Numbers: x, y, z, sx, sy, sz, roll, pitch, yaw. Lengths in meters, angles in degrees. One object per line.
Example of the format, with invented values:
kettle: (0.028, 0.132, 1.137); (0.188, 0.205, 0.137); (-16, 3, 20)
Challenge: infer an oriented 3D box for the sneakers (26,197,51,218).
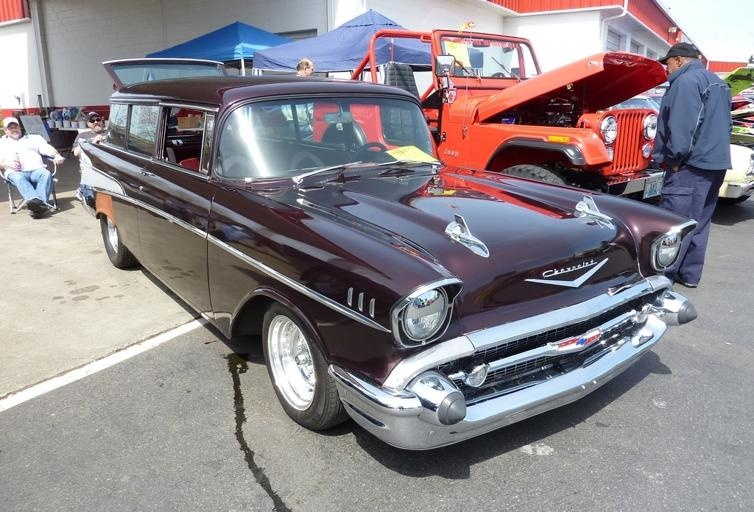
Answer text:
sneakers: (-5.822, -0.831, 7.946); (0.257, 0.205, 0.570); (-3, -1, -21)

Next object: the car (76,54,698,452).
car: (-0.886, -0.459, 4.058); (5.415, 1.358, 2.429); (19, 25, 38)

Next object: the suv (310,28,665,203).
suv: (0.730, -2.153, 6.909); (5.123, 1.951, 2.165); (11, 35, 13)
